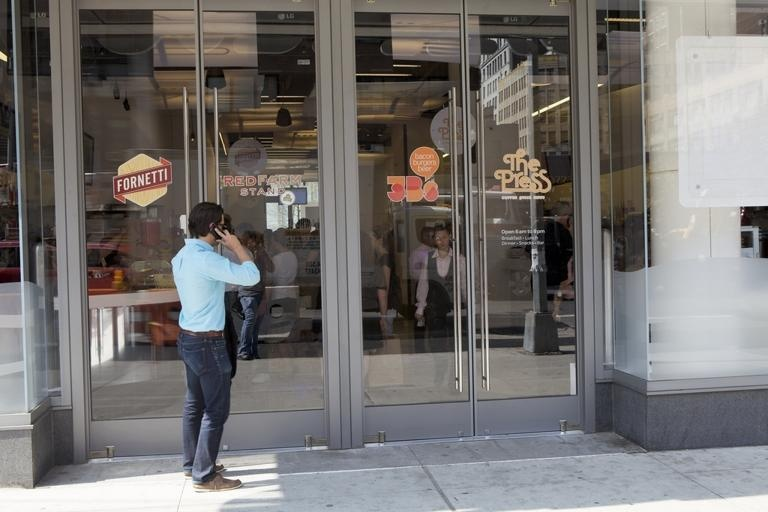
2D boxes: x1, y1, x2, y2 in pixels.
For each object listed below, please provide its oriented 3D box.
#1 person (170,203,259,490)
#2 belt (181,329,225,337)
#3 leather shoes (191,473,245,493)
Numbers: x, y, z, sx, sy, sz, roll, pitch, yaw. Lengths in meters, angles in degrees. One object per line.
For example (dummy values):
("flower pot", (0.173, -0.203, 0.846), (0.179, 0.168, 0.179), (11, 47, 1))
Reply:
("person", (-1.618, 0.863, 7.041), (0.763, 2.631, 0.758), (-5, 14, -14))
("belt", (-1.709, 0.723, 6.886), (0.391, 0.082, 0.120), (-2, 14, -4))
("leather shoes", (-1.593, 2.140, 7.064), (0.486, 0.188, 0.168), (-1, -1, -18))
